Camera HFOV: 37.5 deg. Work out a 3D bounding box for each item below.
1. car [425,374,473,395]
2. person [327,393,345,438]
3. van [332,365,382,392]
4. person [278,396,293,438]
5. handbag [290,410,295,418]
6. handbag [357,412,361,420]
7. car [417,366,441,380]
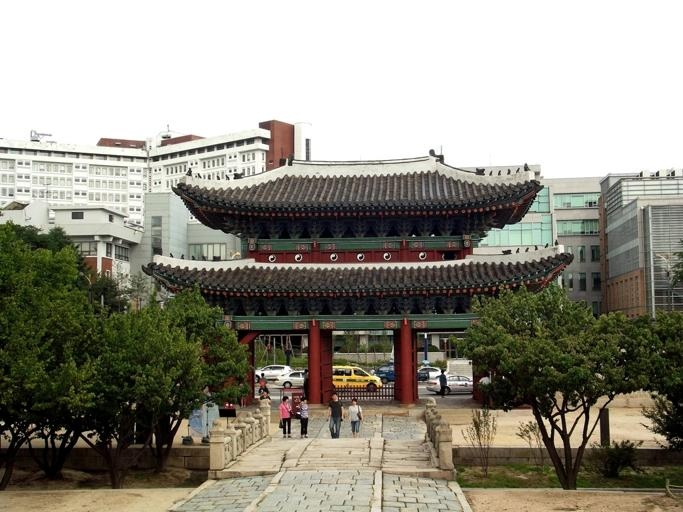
[{"bbox_3d":[7.892,9.240,71.181,3.161,1.026,1.328,-2,0,-12],"label":"car"},{"bbox_3d":[-0.228,8.091,50.745,0.540,2.251,1.031,-2,-10,2],"label":"person"},{"bbox_3d":[1.052,9.166,74.137,3.057,1.456,1.802,-2,-3,2],"label":"van"},{"bbox_3d":[-2.846,8.406,52.193,0.519,2.150,1.488,-1,-10,-2],"label":"person"},{"bbox_3d":[-2.673,9.040,57.264,0.443,0.473,0.547,1,-13,-2],"label":"handbag"},{"bbox_3d":[0.958,8.173,50.860,0.076,0.333,0.339,-6,-11,28],"label":"handbag"},{"bbox_3d":[7.198,10.078,83.490,1.316,1.033,2.176,1,2,10],"label":"car"}]
